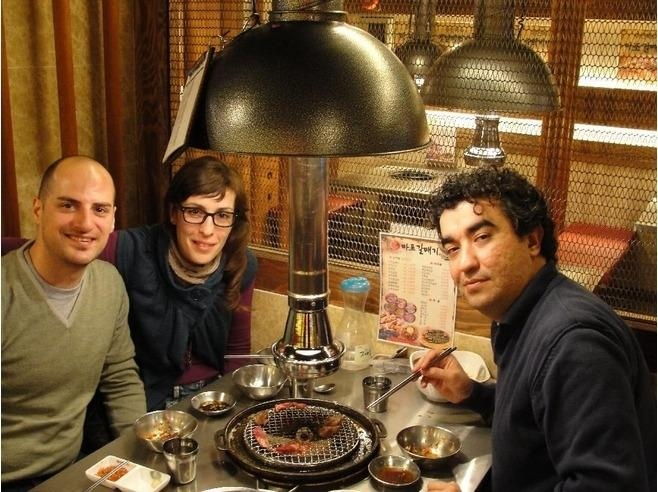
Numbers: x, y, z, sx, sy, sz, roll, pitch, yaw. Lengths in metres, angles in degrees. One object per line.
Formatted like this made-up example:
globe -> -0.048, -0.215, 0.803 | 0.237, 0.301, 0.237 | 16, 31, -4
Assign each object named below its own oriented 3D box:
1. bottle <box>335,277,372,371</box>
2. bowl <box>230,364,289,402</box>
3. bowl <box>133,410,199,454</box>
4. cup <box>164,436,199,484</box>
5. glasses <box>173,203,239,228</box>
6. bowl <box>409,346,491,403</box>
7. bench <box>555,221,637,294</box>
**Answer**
bottle -> 0.118, 0.393, 2.614 | 0.179, 0.445, 0.178 | 2, 9, 0
bowl -> -0.302, 0.599, 2.347 | 0.214, 0.160, 0.243 | -7, 17, -18
bowl -> -0.642, 0.703, 2.042 | 0.175, 0.125, 0.209 | 8, 15, 29
cup -> -0.518, 0.733, 1.841 | 0.110, 0.139, 0.142 | -8, 19, -31
glasses -> -0.605, -0.148, 2.673 | 0.233, 0.105, 0.197 | -2, 13, -10
bowl -> 0.531, 0.521, 2.430 | 0.326, 0.237, 0.351 | 0, 14, 0
bench -> 1.158, 0.033, 2.289 | 0.279, 0.322, 0.075 | 29, 16, 37
